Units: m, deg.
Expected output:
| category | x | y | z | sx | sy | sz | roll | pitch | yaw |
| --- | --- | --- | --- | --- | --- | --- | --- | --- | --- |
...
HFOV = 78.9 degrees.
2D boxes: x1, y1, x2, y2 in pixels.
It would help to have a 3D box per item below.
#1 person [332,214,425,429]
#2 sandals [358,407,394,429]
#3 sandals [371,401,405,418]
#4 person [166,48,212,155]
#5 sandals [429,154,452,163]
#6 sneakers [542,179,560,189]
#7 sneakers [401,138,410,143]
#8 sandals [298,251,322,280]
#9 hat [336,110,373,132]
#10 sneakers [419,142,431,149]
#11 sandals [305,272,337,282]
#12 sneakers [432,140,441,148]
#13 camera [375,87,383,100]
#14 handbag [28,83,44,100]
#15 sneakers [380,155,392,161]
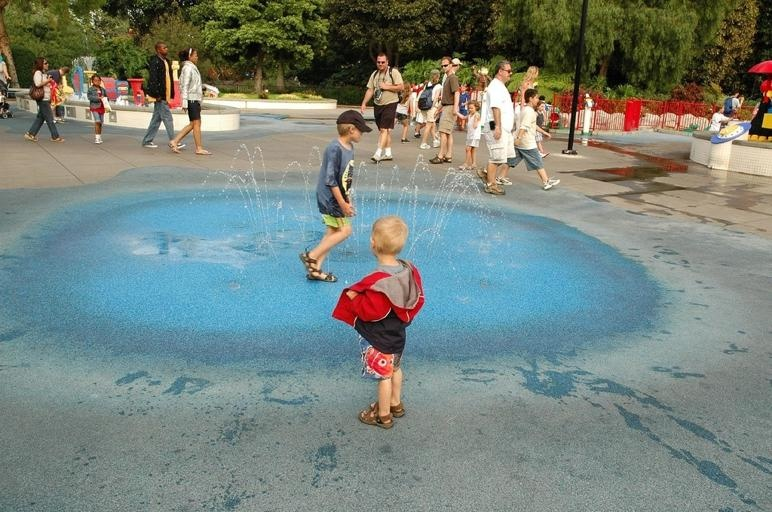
| category | x | y | z | sx | sy | sz | roll | pitch | yaw |
| --- | --- | --- | --- | --- | --- | --- | --- | --- | --- |
| person | -0.014 | 0.468 | 3.510 | 0.520 | 1.484 | 0.608 | 19 | 24 | 42 |
| sandals | -0.084 | 1.194 | 3.513 | 0.242 | 0.099 | 0.125 | 11 | 16 | 21 |
| sandals | 0.000 | 1.167 | 3.549 | 0.251 | 0.102 | 0.115 | 11 | 17 | 30 |
| person | -5.198 | -4.026 | 12.277 | 0.861 | 2.596 | 1.483 | -5 | 19 | -21 |
| sandals | 1.465 | -2.613 | 12.642 | 0.636 | 0.261 | 0.228 | 0 | 9 | -17 |
| sneakers | 3.691 | -1.623 | 10.586 | 0.439 | 0.182 | 0.142 | -28 | 5 | -20 |
| sneakers | 0.658 | -4.097 | 16.567 | 0.143 | 0.149 | 0.364 | 13 | 18 | 42 |
| sandals | -0.928 | 0.134 | 5.737 | 0.128 | 0.438 | 0.179 | 4 | 28 | 30 |
| hat | -0.325 | -1.505 | 5.346 | 0.473 | 0.262 | 0.301 | -5 | 21 | -25 |
| sneakers | 1.234 | -3.575 | 15.127 | 0.258 | 0.187 | 0.454 | -3 | 3 | -21 |
| sandals | -0.808 | 0.235 | 5.738 | 0.352 | 0.091 | 0.137 | 1 | 14 | 5 |
| sneakers | 1.650 | -3.744 | 15.670 | 0.147 | 0.180 | 0.425 | -1 | 3 | 6 |
| camera | -0.214 | -4.203 | 12.134 | 0.199 | 0.272 | 0.097 | 8 | 4 | 15 |
| handbag | -9.647 | -4.487 | 12.955 | 0.348 | 0.419 | 0.390 | -10 | 22 | -34 |
| sneakers | 0.002 | -2.643 | 12.681 | 0.279 | 0.106 | 0.118 | 4 | 12 | -3 |
